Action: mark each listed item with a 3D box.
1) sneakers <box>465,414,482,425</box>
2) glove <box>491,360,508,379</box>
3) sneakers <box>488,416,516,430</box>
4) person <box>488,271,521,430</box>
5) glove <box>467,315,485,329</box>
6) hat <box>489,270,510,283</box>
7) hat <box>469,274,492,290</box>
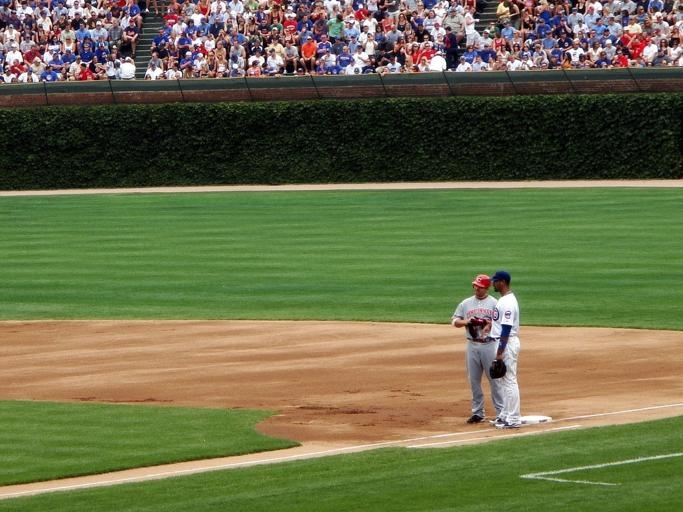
[{"bbox_3d":[3.161,3.912,45.937,0.459,0.138,0.179,-1,-20,0],"label":"sneakers"},{"bbox_3d":[3.686,2.698,45.368,0.518,0.398,0.357,8,-6,32],"label":"glove"},{"bbox_3d":[3.848,4.002,45.693,0.665,0.222,0.237,3,4,8],"label":"sneakers"},{"bbox_3d":[3.851,2.246,45.478,0.783,3.689,0.374,-5,6,0],"label":"person"},{"bbox_3d":[3.198,1.593,45.677,0.418,0.195,0.512,1,-1,11],"label":"glove"},{"bbox_3d":[3.734,0.524,45.517,0.436,0.198,0.294,12,12,23],"label":"hat"},{"bbox_3d":[3.330,0.657,45.705,0.490,0.200,0.312,14,13,-2],"label":"hat"}]
